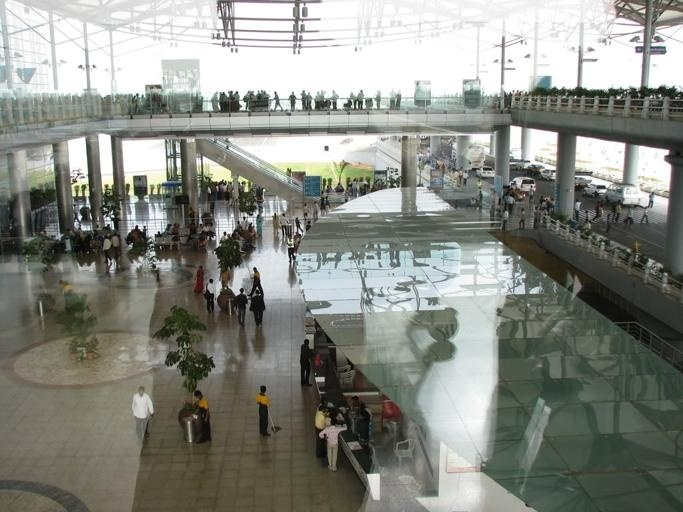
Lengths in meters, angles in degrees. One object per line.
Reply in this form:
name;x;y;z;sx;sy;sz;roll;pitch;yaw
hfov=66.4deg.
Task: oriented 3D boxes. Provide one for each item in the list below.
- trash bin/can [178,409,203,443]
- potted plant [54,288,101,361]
trash bin/can;-3.498;3.886;12.229;0.648;0.713;0.644;-4;24;-10
potted plant;-5.388;1.515;10.664;0.762;1.259;1.167;2;13;-25
